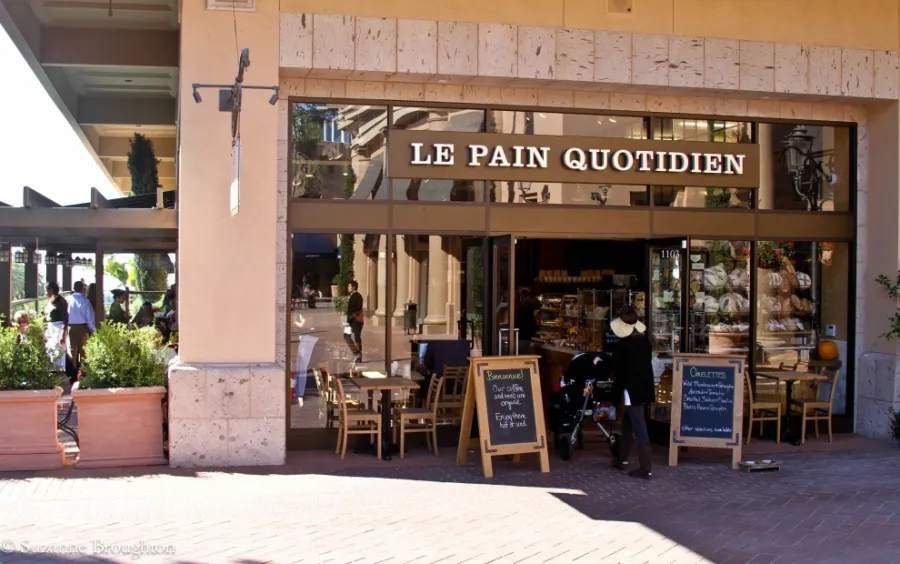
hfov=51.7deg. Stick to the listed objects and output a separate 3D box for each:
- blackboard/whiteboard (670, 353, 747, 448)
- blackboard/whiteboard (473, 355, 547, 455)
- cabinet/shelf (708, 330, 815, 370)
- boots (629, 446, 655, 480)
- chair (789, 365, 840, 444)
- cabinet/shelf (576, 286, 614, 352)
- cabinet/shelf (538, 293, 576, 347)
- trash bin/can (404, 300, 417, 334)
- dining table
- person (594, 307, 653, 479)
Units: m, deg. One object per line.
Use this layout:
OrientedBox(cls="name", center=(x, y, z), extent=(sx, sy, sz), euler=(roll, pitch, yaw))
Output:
OrientedBox(cls="blackboard/whiteboard", center=(4.137, 1.903, 14.969), extent=(1.081, 1.377, 0.503), euler=(3, 12, 11))
OrientedBox(cls="blackboard/whiteboard", center=(0.846, 1.966, 14.712), extent=(1.211, 1.628, 0.958), euler=(-1, 7, -19))
OrientedBox(cls="cabinet/shelf", center=(5.893, 1.223, 17.246), extent=(1.079, 0.253, 0.978), euler=(2, -2, -4))
OrientedBox(cls="boots", center=(2.948, 2.738, 14.296), extent=(0.336, 0.475, 0.320), euler=(4, 12, 13))
OrientedBox(cls="chair", center=(6.520, 2.207, 16.702), extent=(0.682, 1.163, 0.687), euler=(2, -4, -2))
OrientedBox(cls="cabinet/shelf", center=(2.875, 0.776, 18.881), extent=(0.645, 1.171, 0.685), euler=(5, 1, -34))
OrientedBox(cls="cabinet/shelf", center=(2.329, 0.791, 19.842), extent=(0.393, 1.043, 1.128), euler=(-2, 5, -33))
OrientedBox(cls="trash bin/can", center=(-0.666, 0.594, 15.767), extent=(0.197, 0.528, 0.101), euler=(0, 11, -3))
OrientedBox(cls="dining table", center=(6.094, 2.054, 16.419), extent=(1.300, 1.532, 0.909), euler=(-1, -13, -13))
OrientedBox(cls="person", center=(2.946, 1.726, 14.810), extent=(0.718, 2.519, 1.015), euler=(2, -1, -6))
